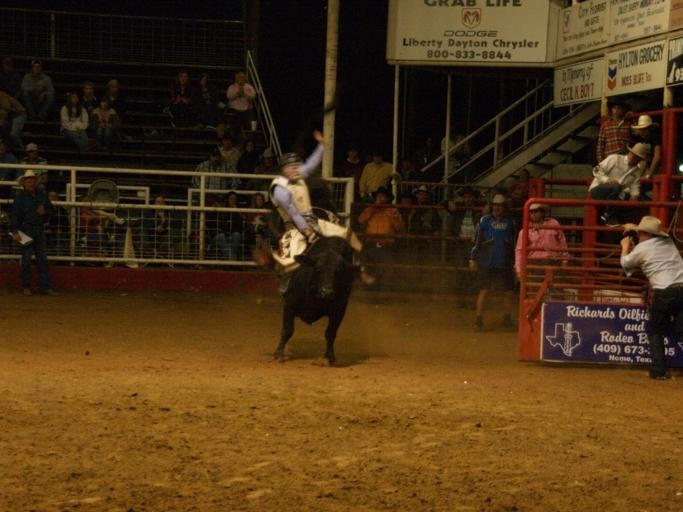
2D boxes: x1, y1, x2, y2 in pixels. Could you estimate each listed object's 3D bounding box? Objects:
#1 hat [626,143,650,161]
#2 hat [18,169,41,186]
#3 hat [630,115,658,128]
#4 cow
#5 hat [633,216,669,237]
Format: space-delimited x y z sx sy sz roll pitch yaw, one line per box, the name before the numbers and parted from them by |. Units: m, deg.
hat | 4.321 -1.549 12.082 0.354 0.138 0.371 17 15 -18
hat | -5.641 -1.407 14.951 0.468 0.184 0.494 -1 -33 -17
hat | 4.669 -2.083 12.754 0.293 0.230 0.414 5 8 16
cow | -0.531 0.471 10.635 1.192 1.847 1.002 5 8 16
hat | 3.817 -0.374 10.323 0.311 0.124 0.337 7 3 -7
